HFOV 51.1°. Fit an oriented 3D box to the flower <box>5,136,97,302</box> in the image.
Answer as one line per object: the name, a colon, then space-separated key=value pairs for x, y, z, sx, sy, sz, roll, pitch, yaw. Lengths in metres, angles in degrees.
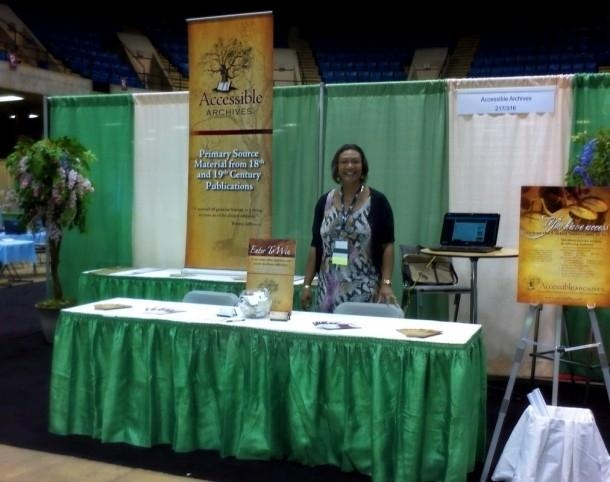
flower: x=-2.493 y=-0.220 z=6.303 sx=0.795 sy=1.675 sz=0.732 roll=-2 pitch=6 yaw=-32

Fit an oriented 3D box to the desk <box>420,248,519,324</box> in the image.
desk: x=1.324 y=0.242 z=5.066 sx=0.586 sy=0.823 sz=0.648 roll=0 pitch=4 yaw=21

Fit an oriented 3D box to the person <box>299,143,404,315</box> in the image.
person: x=0.304 y=-0.078 z=4.375 sx=0.639 sy=1.149 sz=0.352 roll=1 pitch=5 yaw=7
